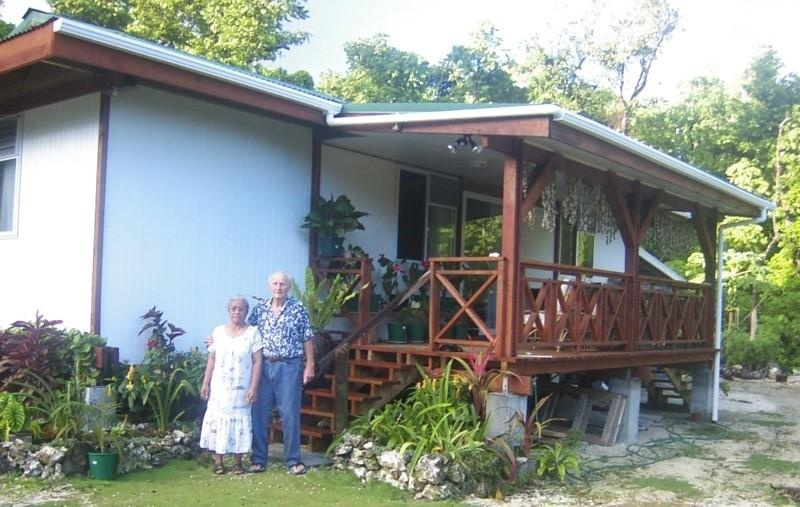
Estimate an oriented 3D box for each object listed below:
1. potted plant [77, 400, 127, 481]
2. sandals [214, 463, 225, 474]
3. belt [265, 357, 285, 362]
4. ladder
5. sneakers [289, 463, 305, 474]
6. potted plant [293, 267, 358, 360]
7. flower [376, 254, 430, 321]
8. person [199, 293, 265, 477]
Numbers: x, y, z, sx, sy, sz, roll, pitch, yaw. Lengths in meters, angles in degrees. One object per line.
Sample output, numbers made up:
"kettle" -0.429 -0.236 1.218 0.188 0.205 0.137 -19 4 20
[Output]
"potted plant" -3.853 2.440 8.634 0.619 0.958 0.606 -7 -6 34
"sandals" -2.383 2.841 8.714 0.066 0.081 0.210 2 -13 -7
"belt" -1.676 1.403 8.804 0.296 0.050 0.038 3 0 10
"ladder" 3.121 2.804 11.465 1.294 0.832 0.223 8 -21 45
"sneakers" -1.371 2.866 8.843 0.221 0.136 0.142 3 0 -11
"potted plant" -1.342 1.056 10.955 1.203 1.370 1.173 -9 -5 34
"flower" -0.065 0.558 12.575 1.017 1.029 0.939 -6 -5 31
"person" -2.226 1.731 8.712 0.763 2.075 0.372 3 0 -9
